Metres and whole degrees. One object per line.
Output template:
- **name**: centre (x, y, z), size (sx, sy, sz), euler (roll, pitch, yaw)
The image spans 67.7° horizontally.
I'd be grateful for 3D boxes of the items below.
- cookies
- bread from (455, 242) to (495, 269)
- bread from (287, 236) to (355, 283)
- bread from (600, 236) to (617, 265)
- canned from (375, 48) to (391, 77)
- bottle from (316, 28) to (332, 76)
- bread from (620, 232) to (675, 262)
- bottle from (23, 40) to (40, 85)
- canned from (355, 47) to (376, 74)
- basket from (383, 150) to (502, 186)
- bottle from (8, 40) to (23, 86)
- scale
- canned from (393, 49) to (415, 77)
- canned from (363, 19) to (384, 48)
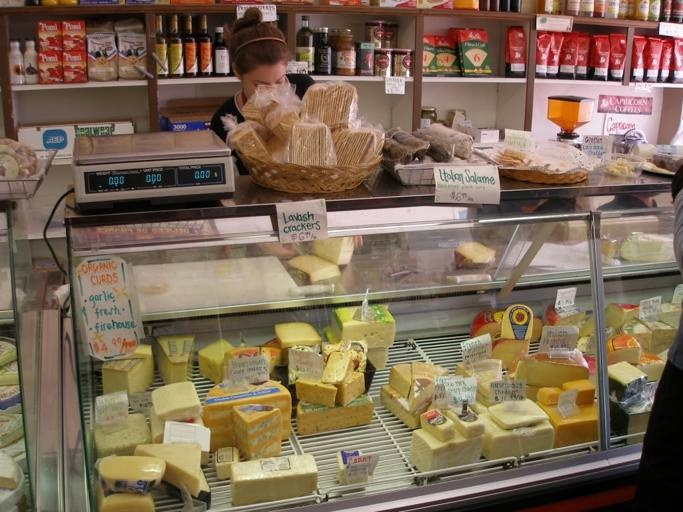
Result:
- **cookies**: centre (-0.104, -0.416, 1.594), size (0.430, 0.170, 0.305), euler (5, 21, 11)
- **bread**: centre (0.506, -0.003, 1.945), size (0.112, 0.049, 0.141), euler (-5, 13, -8)
- **bread**: centre (-0.081, -0.023, 1.829), size (0.197, 0.161, 0.174), euler (-3, 38, -34)
- **bread**: centre (1.026, -0.027, 1.962), size (0.104, 0.093, 0.037), euler (-12, 17, -42)
- **canned**: centre (0.317, -1.475, 3.886), size (0.145, 0.204, 0.101), euler (-4, 17, -4)
- **bottle**: centre (-0.119, -1.526, 3.811), size (0.099, 0.326, 0.215), euler (3, 18, 21)
- **bread**: centre (1.222, -0.030, 2.041), size (0.186, 0.060, 0.137), euler (-1, 23, 2)
- **bottle**: centre (-2.078, -1.287, 3.376), size (0.106, 0.272, 0.070), euler (-12, 19, -26)
- **canned**: centre (0.170, -1.487, 3.852), size (0.135, 0.231, 0.058), euler (-2, 17, 2)
- **basket**: centre (0.338, -0.286, 1.685), size (0.358, 0.083, 0.223), euler (-7, 17, -14)
- **bottle**: centre (-2.148, -1.266, 3.335), size (0.097, 0.274, 0.043), euler (-8, 17, -17)
- **scale**: centre (-0.545, -0.222, 1.457), size (0.421, 0.121, 0.318), euler (-10, 15, -29)
- **canned**: centre (0.459, -1.480, 3.928), size (0.206, 0.194, 0.199), euler (-5, 14, -20)
- **canned**: centre (0.252, -1.719, 3.947), size (0.208, 0.202, 0.197), euler (1, 15, 4)
